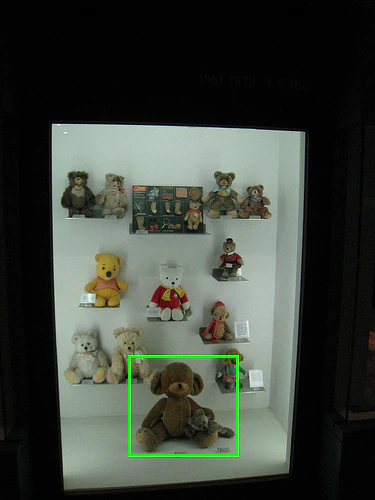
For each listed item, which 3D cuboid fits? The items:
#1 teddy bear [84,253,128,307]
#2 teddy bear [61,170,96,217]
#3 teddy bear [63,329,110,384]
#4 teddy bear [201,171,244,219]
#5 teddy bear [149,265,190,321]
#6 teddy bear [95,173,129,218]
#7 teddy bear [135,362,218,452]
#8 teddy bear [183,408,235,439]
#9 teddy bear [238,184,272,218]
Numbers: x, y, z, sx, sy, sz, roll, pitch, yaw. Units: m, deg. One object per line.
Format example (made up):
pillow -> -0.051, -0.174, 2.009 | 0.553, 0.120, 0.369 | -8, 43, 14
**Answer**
teddy bear -> -0.415, 0.156, 2.409 | 0.275, 0.360, 0.223 | 2, 13, -12
teddy bear -> -0.533, -0.274, 2.208 | 0.054, 0.226, 0.197 | 3, 8, 30
teddy bear -> -0.529, 0.557, 2.334 | 0.206, 0.262, 0.165 | -6, 7, -19
teddy bear -> 0.174, -0.294, 2.317 | 0.185, 0.241, 0.090 | -2, 16, -9
teddy bear -> -0.105, 0.216, 2.339 | 0.228, 0.311, 0.161 | 1, 14, -16
teddy bear -> -0.378, -0.273, 2.258 | 0.175, 0.220, 0.048 | 2, 7, 23
teddy bear -> -0.081, 0.756, 2.429 | 0.439, 0.484, 0.373 | 1, -1, -8
teddy bear -> 0.119, 0.891, 2.270 | 0.206, 0.107, 0.130 | -3, 1, 41
teddy bear -> 0.325, -0.259, 2.365 | 0.183, 0.217, 0.152 | 1, 12, 2
